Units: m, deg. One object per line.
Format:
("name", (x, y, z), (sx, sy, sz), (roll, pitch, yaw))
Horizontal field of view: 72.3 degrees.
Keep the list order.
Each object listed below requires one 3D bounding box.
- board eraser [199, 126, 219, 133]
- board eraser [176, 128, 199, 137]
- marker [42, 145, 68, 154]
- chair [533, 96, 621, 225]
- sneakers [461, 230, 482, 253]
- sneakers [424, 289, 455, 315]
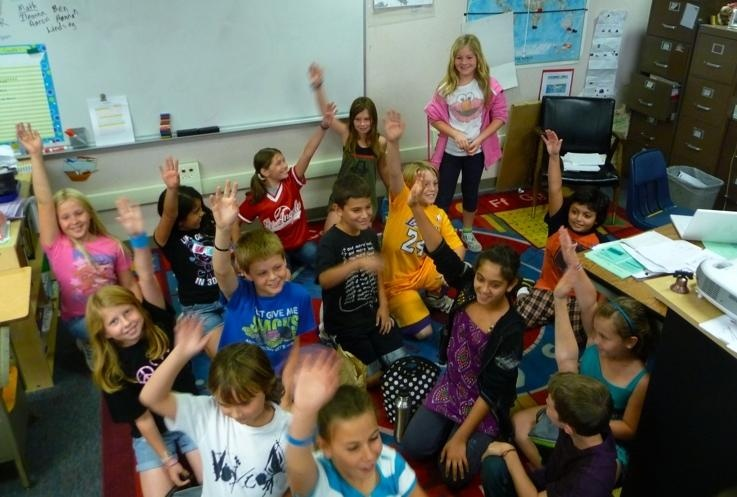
("board eraser", (-1.307, -0.985, 4.199), (0.112, 0.031, 0.065), (-3, 32, -9))
("board eraser", (-1.489, -0.946, 4.154), (0.125, 0.068, 0.033), (-5, 7, -18))
("marker", (-2.425, -0.756, 3.905), (0.127, 0.032, 0.073), (-1, 46, -12))
("chair", (2.038, -0.905, 4.881), (0.854, 1.221, 0.954), (3, 27, 7))
("sneakers", (0.900, -0.068, 4.466), (0.102, 0.097, 0.243), (-26, 51, -10))
("sneakers", (0.476, 0.394, 3.734), (0.288, 0.216, 0.104), (-5, 38, -2))
